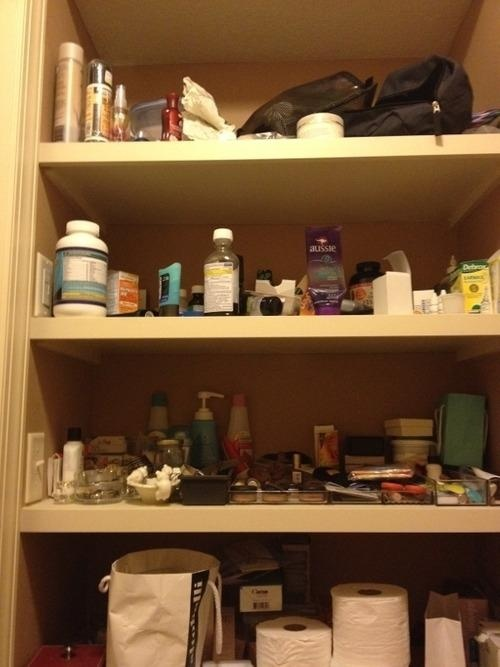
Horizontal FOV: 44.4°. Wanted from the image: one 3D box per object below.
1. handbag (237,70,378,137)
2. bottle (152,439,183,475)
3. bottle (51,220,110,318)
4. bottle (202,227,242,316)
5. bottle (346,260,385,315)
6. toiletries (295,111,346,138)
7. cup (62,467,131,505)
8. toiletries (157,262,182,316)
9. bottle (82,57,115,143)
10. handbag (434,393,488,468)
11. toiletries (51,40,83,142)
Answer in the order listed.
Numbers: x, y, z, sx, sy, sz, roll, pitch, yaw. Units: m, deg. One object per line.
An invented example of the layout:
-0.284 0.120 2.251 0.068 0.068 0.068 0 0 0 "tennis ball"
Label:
0.100 -0.471 1.263 0.304 0.153 0.116 -2 -4 16 "handbag"
-0.149 0.235 1.161 0.055 0.058 0.052 0 -8 6 "bottle"
-0.304 -0.107 1.100 0.089 0.151 0.049 1 -4 -20 "bottle"
-0.054 -0.113 1.130 0.058 0.168 0.077 -1 -4 7 "bottle"
0.232 -0.099 1.234 0.060 0.116 0.139 -2 -4 10 "bottle"
0.133 -0.384 1.154 0.090 0.064 0.076 -1 -4 5 "toiletries"
-0.271 0.264 1.098 0.070 0.035 0.068 1 -4 0 "cup"
-0.151 -0.079 1.153 0.038 0.104 0.110 0 -4 -8 "toiletries"
-0.287 -0.441 1.162 0.047 0.165 0.031 1 -4 -22 "bottle"
0.413 0.192 1.209 0.103 0.143 0.132 -2 -4 23 "handbag"
-0.349 -0.449 1.177 0.054 0.196 0.090 0 -4 -16 "toiletries"
